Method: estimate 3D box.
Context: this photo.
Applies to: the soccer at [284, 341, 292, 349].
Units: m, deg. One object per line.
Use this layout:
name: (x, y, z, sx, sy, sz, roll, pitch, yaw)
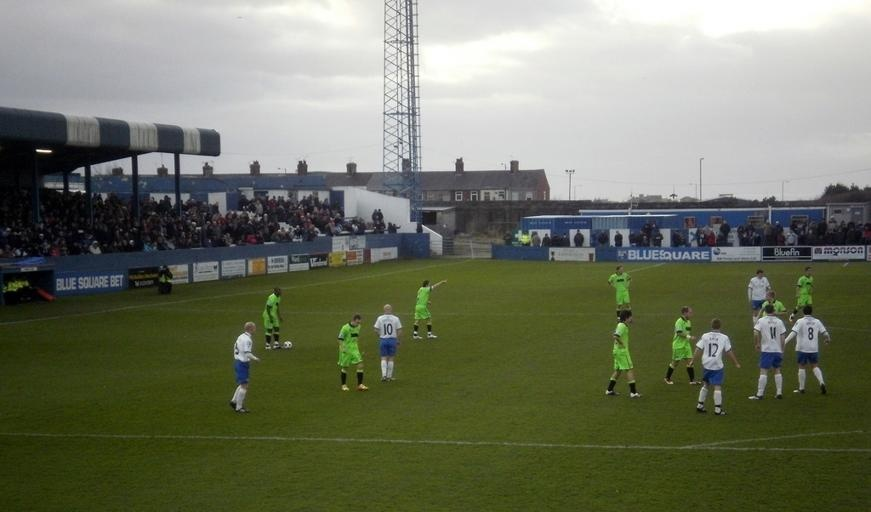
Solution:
soccer: (-8.199, 4.906, 75.833, 0.387, 0.374, 0.379, -3, -31, -4)
